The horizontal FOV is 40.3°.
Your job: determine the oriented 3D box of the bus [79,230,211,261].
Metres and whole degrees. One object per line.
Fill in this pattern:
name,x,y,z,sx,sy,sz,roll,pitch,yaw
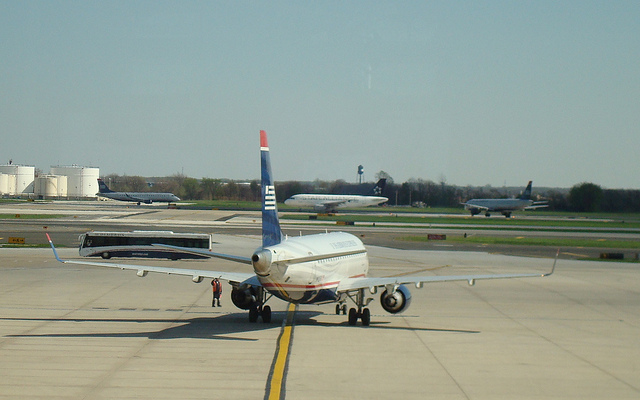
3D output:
bus,-22.235,6.444,112.985,16.951,3.943,4.534,1,-22,-1

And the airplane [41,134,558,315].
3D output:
airplane,-2.630,3.378,92.794,51.135,21.286,39.079,1,1,12
